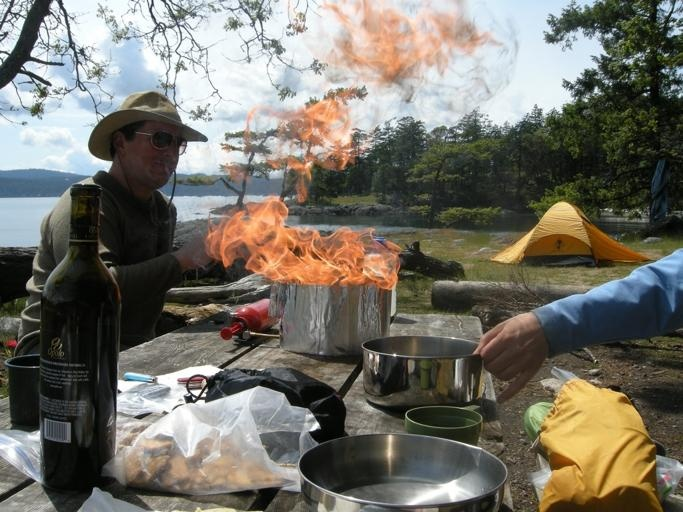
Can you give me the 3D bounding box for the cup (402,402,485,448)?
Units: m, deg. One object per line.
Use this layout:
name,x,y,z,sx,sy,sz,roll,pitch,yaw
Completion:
cup,0.264,0.439,1.501,0.221,0.120,0.161,6,1,-14

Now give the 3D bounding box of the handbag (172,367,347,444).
handbag,-0.205,0.408,1.506,0.435,0.158,0.186,4,4,7

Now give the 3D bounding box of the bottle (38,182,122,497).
bottle,-0.593,0.191,1.227,0.160,0.708,0.093,2,5,-28

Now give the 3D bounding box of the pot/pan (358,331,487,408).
pot/pan,0.260,0.385,1.789,0.379,0.207,0.310,4,4,3
